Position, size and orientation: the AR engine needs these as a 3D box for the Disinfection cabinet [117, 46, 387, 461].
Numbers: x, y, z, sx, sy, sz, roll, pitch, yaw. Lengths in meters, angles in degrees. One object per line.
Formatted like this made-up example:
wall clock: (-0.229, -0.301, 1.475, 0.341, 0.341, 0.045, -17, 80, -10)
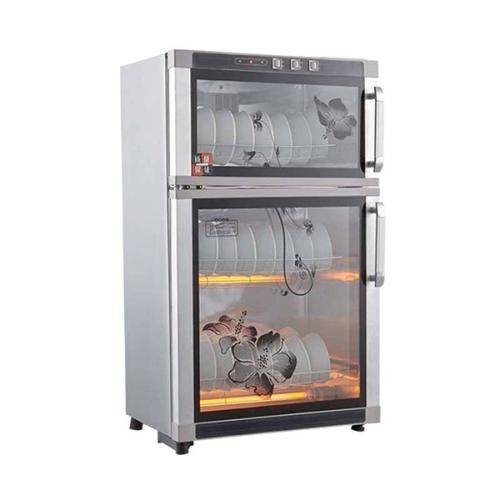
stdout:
Disinfection cabinet: (0.040, -0.026, 2.701, 1.305, 1.915, 0.598, -2, -3, -12)
